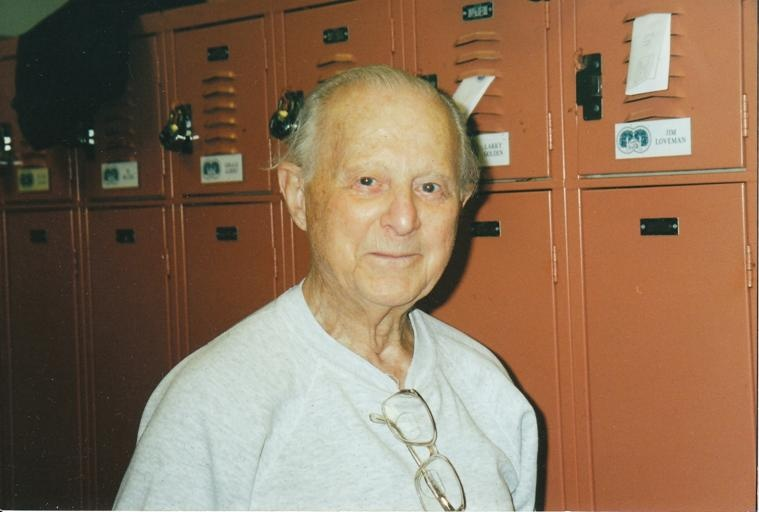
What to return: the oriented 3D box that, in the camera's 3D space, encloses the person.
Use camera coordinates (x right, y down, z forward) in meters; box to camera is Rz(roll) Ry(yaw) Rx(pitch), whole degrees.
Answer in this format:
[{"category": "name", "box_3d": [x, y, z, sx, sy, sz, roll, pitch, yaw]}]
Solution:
[{"category": "person", "box_3d": [-0.113, 0.124, 2.313, 1.222, 1.380, 0.383, 0, 1, -20]}]
